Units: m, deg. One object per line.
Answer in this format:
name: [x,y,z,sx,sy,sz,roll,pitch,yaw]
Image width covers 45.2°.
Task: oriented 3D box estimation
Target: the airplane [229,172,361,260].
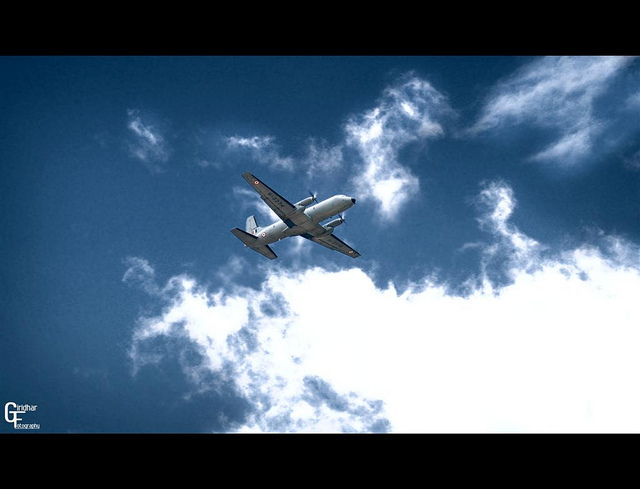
airplane: [-1.308,-0.267,35.465,4.203,1.673,5.307,-27,-46,18]
